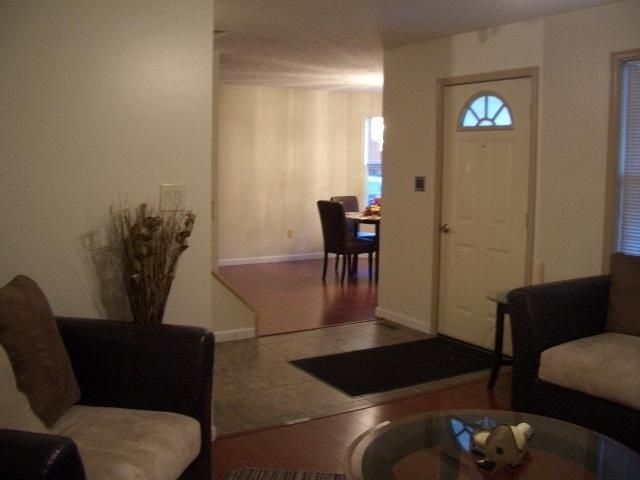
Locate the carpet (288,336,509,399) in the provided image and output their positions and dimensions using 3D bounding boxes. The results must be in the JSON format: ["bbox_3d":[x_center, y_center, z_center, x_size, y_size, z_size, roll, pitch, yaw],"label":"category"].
[{"bbox_3d":[0.659,1.018,4.315,1.669,0.016,0.831,-3,9,-25],"label":"carpet"}]
